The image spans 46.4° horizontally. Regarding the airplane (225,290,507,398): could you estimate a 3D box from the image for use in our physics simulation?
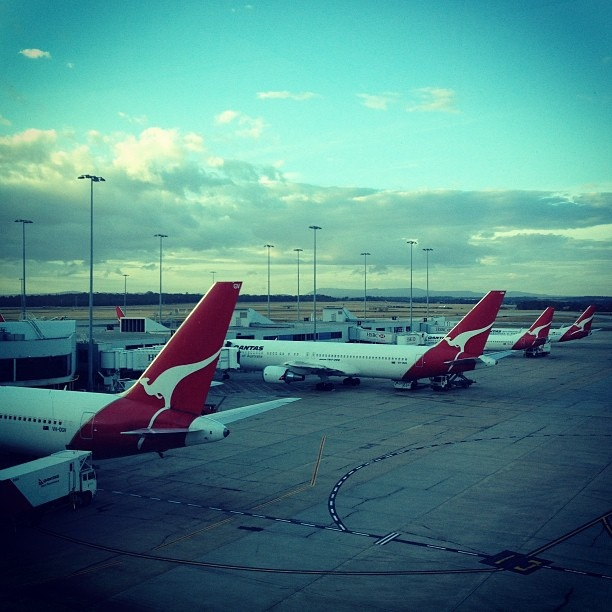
[{"bbox_3d":[5.855,4.546,64.395,18.240,4.043,13.240,3,2,28],"label":"airplane"}]
